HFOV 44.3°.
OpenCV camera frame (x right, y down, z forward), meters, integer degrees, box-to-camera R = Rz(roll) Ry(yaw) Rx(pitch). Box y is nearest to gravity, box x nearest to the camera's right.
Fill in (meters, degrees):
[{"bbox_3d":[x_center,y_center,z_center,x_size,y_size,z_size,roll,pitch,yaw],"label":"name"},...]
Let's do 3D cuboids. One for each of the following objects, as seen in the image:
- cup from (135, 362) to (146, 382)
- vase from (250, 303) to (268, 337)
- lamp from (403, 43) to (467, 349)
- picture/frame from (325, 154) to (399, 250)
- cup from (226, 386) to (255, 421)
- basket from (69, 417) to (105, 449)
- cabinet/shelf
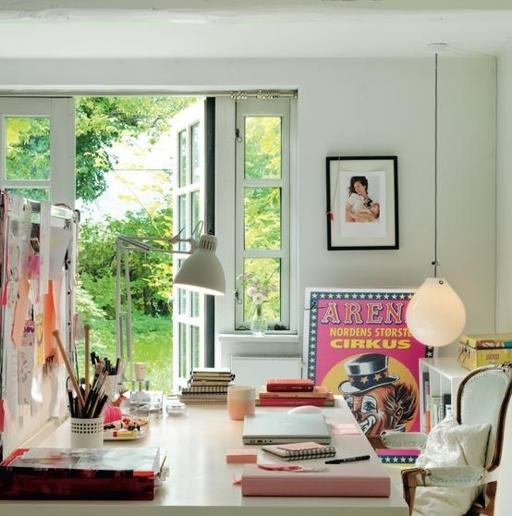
[{"bbox_3d":[-0.443,0.435,2.385,0.038,0.077,0.066,0,1,-12],"label":"cup"},{"bbox_3d":[0.033,0.357,3.709,0.079,0.182,0.154,1,1,36],"label":"vase"},{"bbox_3d":[0.972,-0.318,3.351,0.283,1.675,0.572,0,1,21],"label":"lamp"},{"bbox_3d":[0.609,-0.319,3.579,0.393,0.573,0.022,0,-16,4],"label":"picture/frame"},{"bbox_3d":[-0.061,0.507,2.230,0.103,0.106,0.090,0,3,-35],"label":"cup"},{"bbox_3d":[-0.499,0.518,1.853,0.078,0.091,0.090,1,0,-14],"label":"basket"},{"bbox_3d":[0.915,0.666,3.040,0.129,0.391,0.408,1,5,3],"label":"cabinet/shelf"}]
